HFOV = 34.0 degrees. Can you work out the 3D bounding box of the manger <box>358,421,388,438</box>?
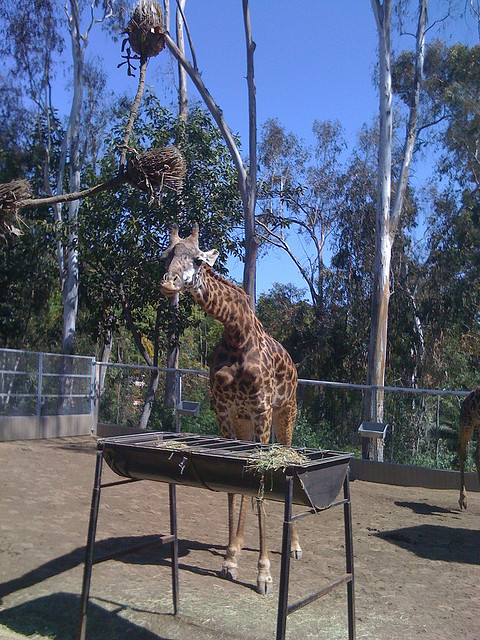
[{"bbox_3d":[1.830,1.506,10.748,0.271,0.156,0.215,3,-3,30],"label":"manger"}]
